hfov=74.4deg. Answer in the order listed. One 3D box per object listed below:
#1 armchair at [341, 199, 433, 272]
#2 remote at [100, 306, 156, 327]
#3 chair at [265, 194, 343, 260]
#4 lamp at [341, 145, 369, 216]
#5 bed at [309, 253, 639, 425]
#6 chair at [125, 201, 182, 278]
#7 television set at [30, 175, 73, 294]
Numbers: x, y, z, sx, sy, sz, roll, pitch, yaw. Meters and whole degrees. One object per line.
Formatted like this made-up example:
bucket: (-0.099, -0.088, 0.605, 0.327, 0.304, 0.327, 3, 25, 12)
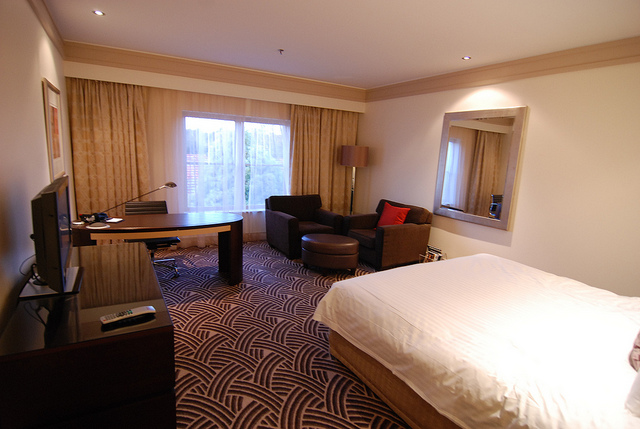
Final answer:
armchair: (1.005, 0.243, 6.594, 1.147, 1.038, 1.106, -3, 11, -32)
remote: (-1.421, 0.743, 3.111, 0.285, 0.055, 0.146, -5, 11, -26)
chair: (-0.271, 0.168, 6.777, 0.972, 0.862, 0.909, -3, 12, -30)
lamp: (0.558, -0.627, 7.406, 0.352, 1.084, 0.319, 1, 10, -15)
bed: (1.616, 0.981, 3.472, 1.628, 0.313, 1.585, -7, 12, -27)
chair: (-2.224, 0.308, 5.596, 0.643, 0.934, 0.830, -2, 11, -25)
television set: (-2.131, 0.193, 3.338, 0.284, 0.729, 0.871, -3, 13, -27)
